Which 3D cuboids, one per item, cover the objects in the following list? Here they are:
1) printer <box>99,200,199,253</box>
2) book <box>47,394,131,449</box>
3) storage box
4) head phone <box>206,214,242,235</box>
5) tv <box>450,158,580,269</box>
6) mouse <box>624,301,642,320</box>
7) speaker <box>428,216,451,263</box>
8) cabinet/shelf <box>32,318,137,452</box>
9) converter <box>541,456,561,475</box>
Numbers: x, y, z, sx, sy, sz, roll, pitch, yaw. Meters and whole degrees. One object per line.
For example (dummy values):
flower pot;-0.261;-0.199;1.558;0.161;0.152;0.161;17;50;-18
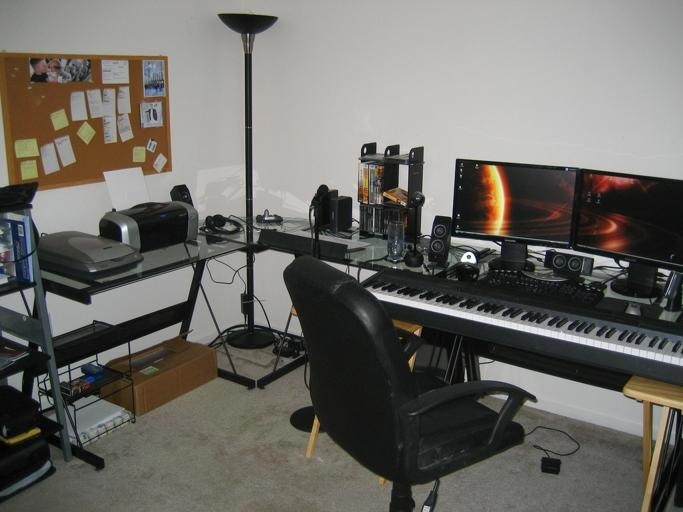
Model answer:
printer;-1.125;-0.182;3.078;0.267;0.280;0.512;8;18;30
book;-1.389;0.925;2.972;0.287;0.074;0.316;11;16;32
storage box;-1.161;0.722;3.357;0.382;0.288;0.659;14;16;31
head phone;-0.766;-0.198;3.410;0.189;0.071;0.155;20;27;20
tv;0.948;-0.233;2.829;0.542;0.496;0.145;10;22;23
mouse;1.375;0.258;2.473;0.064;0.070;0.065;9;-14;2
speaker;0.561;-0.090;2.969;0.115;0.259;0.112;9;-1;19
cabinet/shelf;-1.453;0.681;2.956;0.298;0.388;0.223;-27;-15;-5
converter;1.103;1.099;2.763;0.078;0.024;0.075;4;35;34
